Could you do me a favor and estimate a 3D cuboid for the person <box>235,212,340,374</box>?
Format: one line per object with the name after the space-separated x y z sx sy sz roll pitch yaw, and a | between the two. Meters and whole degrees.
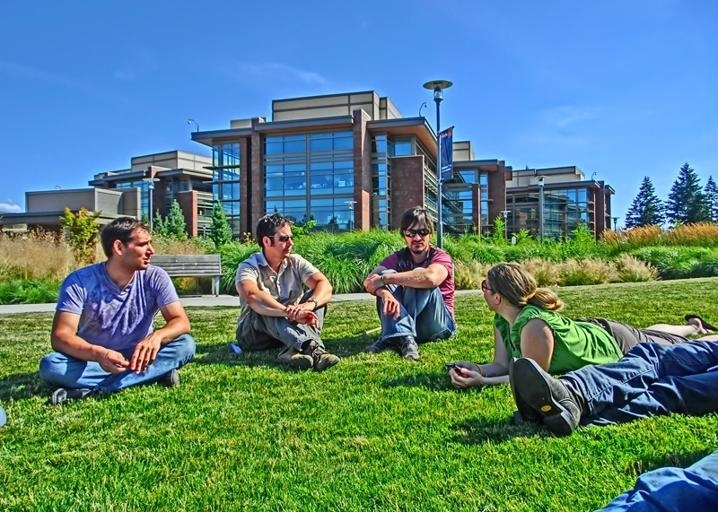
-0.700 0.333 5.758 0.781 1.493 1.411 1 1 -30 | person

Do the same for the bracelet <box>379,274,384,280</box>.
0.213 0.201 5.792 0.036 0.053 0.018 -2 -2 4 | bracelet

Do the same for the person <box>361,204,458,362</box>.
0.457 0.216 5.916 0.738 1.362 1.037 0 7 26 | person

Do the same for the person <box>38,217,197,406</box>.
-1.957 0.410 4.809 0.886 1.323 1.194 6 7 43 | person

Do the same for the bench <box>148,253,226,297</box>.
-3.088 0.336 10.954 0.825 0.508 0.312 -1 31 -11 | bench

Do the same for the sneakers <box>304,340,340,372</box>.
-0.339 0.872 5.321 0.148 0.184 0.410 -21 12 -30 | sneakers

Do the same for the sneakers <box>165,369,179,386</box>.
-1.523 1.008 4.930 0.061 0.072 0.151 -26 34 13 | sneakers

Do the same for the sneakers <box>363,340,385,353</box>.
0.156 0.867 5.810 0.197 0.088 0.178 -3 7 -3 | sneakers

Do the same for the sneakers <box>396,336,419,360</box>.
0.466 0.842 5.554 0.174 0.154 0.300 -2 7 4 | sneakers

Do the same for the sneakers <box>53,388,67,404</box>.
-2.254 1.059 4.530 0.114 0.097 0.084 -6 7 -28 | sneakers

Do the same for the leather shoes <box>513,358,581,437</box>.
1.155 0.894 3.733 0.170 0.427 0.199 -40 -12 24 | leather shoes
